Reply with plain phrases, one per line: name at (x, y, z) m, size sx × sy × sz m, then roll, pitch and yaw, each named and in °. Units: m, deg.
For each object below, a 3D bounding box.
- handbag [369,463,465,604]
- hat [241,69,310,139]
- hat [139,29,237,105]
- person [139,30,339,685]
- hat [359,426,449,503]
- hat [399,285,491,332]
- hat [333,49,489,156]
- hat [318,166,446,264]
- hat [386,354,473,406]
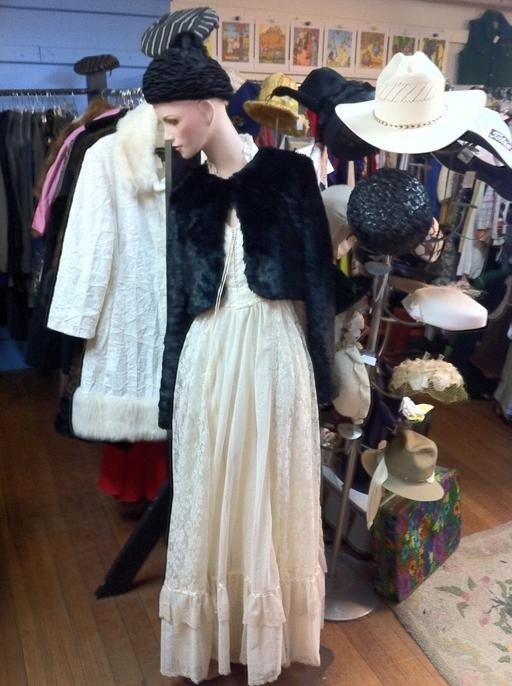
handbag at (0.487, 0.601, 1.699) m, size 0.401 × 0.327 × 0.131 m, roll -24°, pitch 30°, yaw -36°
hat at (0.059, -0.766, 1.675) m, size 0.137 × 0.078 × 0.130 m, roll 3°, pitch 6°, yaw 28°
hat at (-0.134, -0.538, 1.093) m, size 0.210 × 0.139 × 0.205 m, roll 4°, pitch 24°, yaw 19°
person at (-0.016, 0.227, 1.269) m, size 0.404 × 1.267 × 0.457 m, roll 0°, pitch 25°, yaw -10°
hat at (0.455, 0.354, 1.573) m, size 0.178 × 0.145 × 0.162 m, roll 8°, pitch 24°, yaw 8°
hat at (0.465, -0.117, 1.358) m, size 0.143 × 0.036 × 0.140 m, roll -15°, pitch 34°, yaw -27°
hat at (0.316, -0.503, 1.161) m, size 0.307 × 0.200 × 0.237 m, roll 10°, pitch 25°, yaw 13°
hat at (0.301, -0.278, 1.235) m, size 0.285 × 0.208 × 0.091 m, roll 18°, pitch 16°, yaw -12°
hat at (0.474, 0.106, 1.534) m, size 0.162 × 0.118 × 0.206 m, roll -3°, pitch 25°, yaw -16°
